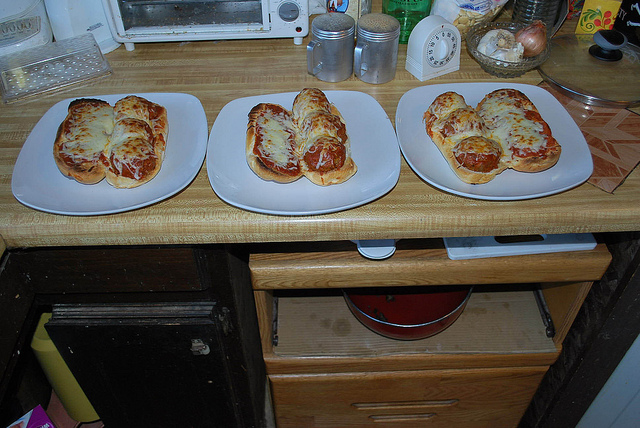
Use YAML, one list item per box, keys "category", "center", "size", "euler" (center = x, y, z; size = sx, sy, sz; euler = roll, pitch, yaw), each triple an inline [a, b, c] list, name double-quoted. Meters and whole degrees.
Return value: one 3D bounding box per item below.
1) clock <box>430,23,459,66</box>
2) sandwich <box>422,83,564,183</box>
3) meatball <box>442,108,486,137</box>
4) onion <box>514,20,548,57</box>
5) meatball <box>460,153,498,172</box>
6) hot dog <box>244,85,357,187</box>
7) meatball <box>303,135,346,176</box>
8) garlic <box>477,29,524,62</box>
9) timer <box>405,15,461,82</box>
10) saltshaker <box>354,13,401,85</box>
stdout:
- category: "clock"
  center: [0.289, -0.390, 1.153]
  size: [0.039, 0.078, 0.072]
  euler: [27, 47, 28]
- category: "sandwich"
  center: [0.339, -0.149, 0.985]
  size: [0.222, 0.052, 0.208]
  euler: [-14, 53, -3]
- category: "meatball"
  center: [0.288, -0.186, 1.013]
  size: [0.087, 0.074, 0.025]
  euler: [-7, 70, -10]
- category: "onion"
  center: [0.502, -0.411, 1.172]
  size: [0.080, 0.074, 0.056]
  euler: [10, 42, 11]
- category: "meatball"
  center: [0.306, -0.098, 0.947]
  size: [0.049, 0.024, 0.036]
  euler: [7, 68, 4]
- category: "hot dog"
  center: [-0.026, -0.138, 1.007]
  size: [0.203, 0.055, 0.233]
  euler: [-13, 57, -6]
- category: "meatball"
  center: [0.010, -0.114, 0.960]
  size: [0.081, 0.049, 0.073]
  euler: [-1, 40, -1]
- category: "garlic"
  center: [0.422, -0.396, 1.177]
  size: [0.098, 0.037, 0.080]
  euler: [7, 78, 6]
- category: "timer"
  center: [0.271, -0.394, 1.189]
  size: [0.135, 0.119, 0.079]
  euler: [-26, 39, -29]
- category: "saltshaker"
  center: [0.134, -0.387, 1.167]
  size: [0.103, 0.129, 0.113]
  euler: [5, 41, 6]
